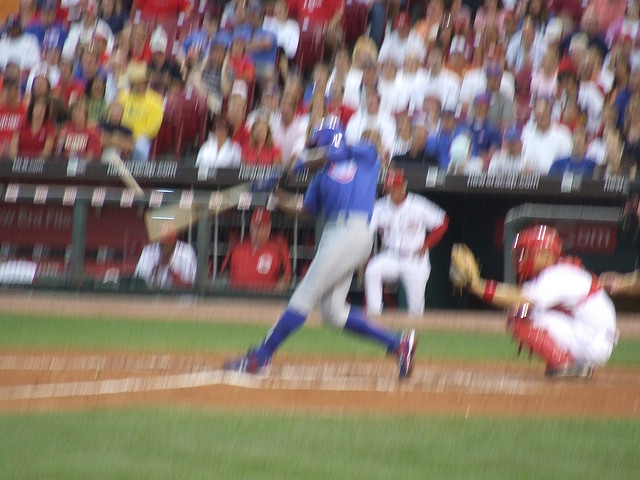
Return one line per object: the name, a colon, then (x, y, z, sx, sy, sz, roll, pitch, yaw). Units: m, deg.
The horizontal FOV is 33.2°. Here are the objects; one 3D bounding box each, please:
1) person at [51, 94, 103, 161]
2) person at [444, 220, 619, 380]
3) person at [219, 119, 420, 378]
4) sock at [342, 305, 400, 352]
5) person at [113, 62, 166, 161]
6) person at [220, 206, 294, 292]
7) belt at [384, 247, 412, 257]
person: (-2.582, -1.144, 11.334, 0.451, 0.533, 1.580, -3, 26, -12)
person: (1.679, 0.482, 8.404, 1.163, 1.229, 0.719, -3, 2, 2)
person: (0.074, 0.081, 8.107, 1.362, 2.064, 0.865, 6, -23, -7)
sock: (0.391, 0.693, 8.189, 0.436, 0.310, 0.211, 2, 8, 6)
person: (-1.982, -1.425, 11.793, 0.555, 0.924, 1.466, -1, 9, -11)
person: (-0.601, 0.183, 11.012, 0.653, 0.885, 0.254, 5, 11, -1)
belt: (0.770, 0.138, 10.720, 0.287, 0.075, 0.049, 7, 10, 31)
